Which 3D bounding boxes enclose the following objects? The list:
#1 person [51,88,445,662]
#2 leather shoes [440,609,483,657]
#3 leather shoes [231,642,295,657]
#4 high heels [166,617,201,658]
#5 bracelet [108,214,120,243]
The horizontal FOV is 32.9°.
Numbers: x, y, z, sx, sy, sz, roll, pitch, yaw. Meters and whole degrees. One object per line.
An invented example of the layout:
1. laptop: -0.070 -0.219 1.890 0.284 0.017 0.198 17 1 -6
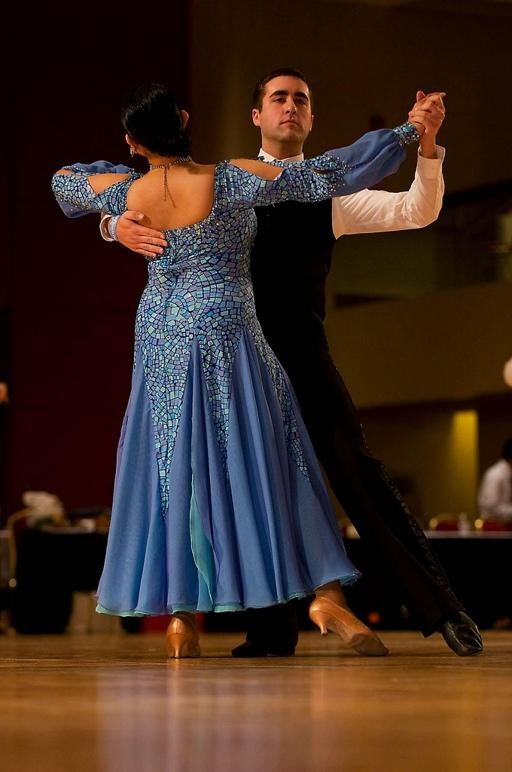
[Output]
1. person: -0.057 -0.037 2.228 0.782 1.380 0.753 2 20 -11
2. leather shoes: 0.533 0.641 2.225 0.081 0.045 0.121 -24 38 11
3. leather shoes: 0.019 0.710 2.320 0.173 0.055 0.051 5 -20 -5
4. high heels: -0.179 0.644 2.185 0.056 0.138 0.062 -3 34 0
5. bracelet: -0.386 -0.426 2.330 0.032 0.069 0.059 5 11 12
